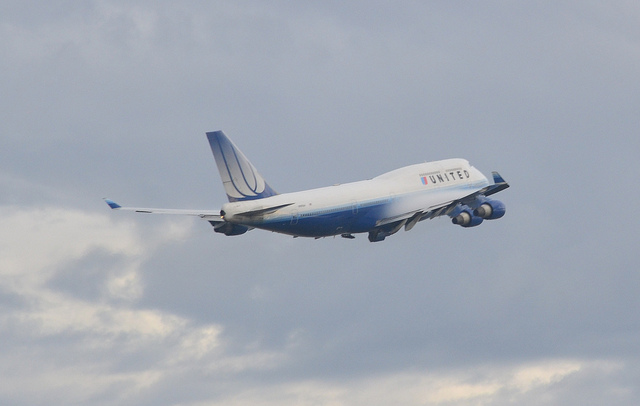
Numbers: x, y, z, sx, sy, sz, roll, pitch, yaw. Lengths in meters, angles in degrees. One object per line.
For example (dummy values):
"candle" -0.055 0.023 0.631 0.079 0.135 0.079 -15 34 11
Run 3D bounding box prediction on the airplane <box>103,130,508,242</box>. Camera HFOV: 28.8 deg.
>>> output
"airplane" 1.210 0.054 89.302 31.315 8.071 9.995 0 0 -9
